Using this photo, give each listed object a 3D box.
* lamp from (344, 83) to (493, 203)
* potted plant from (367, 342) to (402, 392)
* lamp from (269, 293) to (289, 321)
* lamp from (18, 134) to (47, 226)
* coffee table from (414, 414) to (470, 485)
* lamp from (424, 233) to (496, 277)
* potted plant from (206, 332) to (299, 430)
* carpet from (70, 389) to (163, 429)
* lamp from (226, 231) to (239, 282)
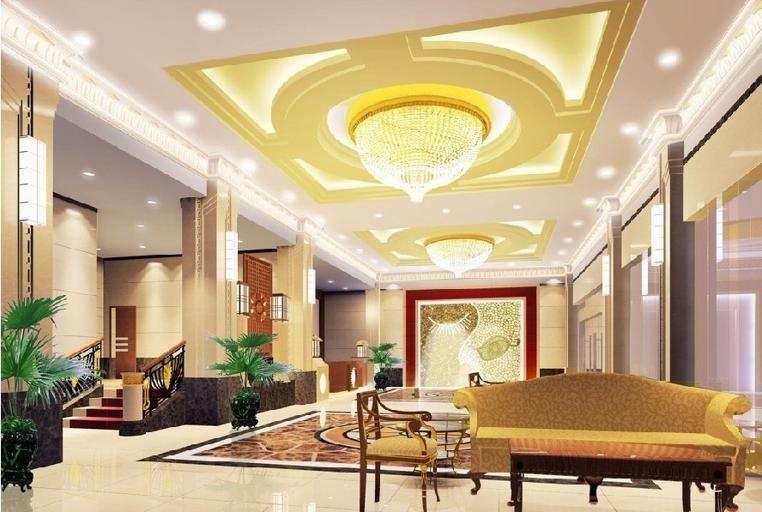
[{"bbox_3d":[0.607,-1.499,8.589,2.712,1.570,2.675,1,-8,-18],"label":"lamp"},{"bbox_3d":[0.046,4.399,19.484,1.181,1.658,1.210,-6,-18,27],"label":"potted plant"},{"bbox_3d":[-2.520,1.291,12.194,0.570,0.929,0.558,0,-4,-3],"label":"lamp"},{"bbox_3d":[-4.307,-0.903,6.102,0.154,1.061,0.479,0,0,-10],"label":"lamp"},{"bbox_3d":[0.889,2.701,7.030,1.180,0.759,1.184,-1,-13,4],"label":"coffee table"},{"bbox_3d":[2.243,-0.090,14.241,1.361,0.662,1.377,-6,-12,32],"label":"lamp"},{"bbox_3d":[-2.427,2.344,8.986,1.596,1.702,1.627,-13,-19,32],"label":"potted plant"},{"bbox_3d":[-5.618,2.996,9.977,0.871,0.478,0.904,4,-9,-17],"label":"carpet"},{"bbox_3d":[-2.886,0.001,9.615,0.211,0.959,0.234,4,21,-4],"label":"lamp"}]
